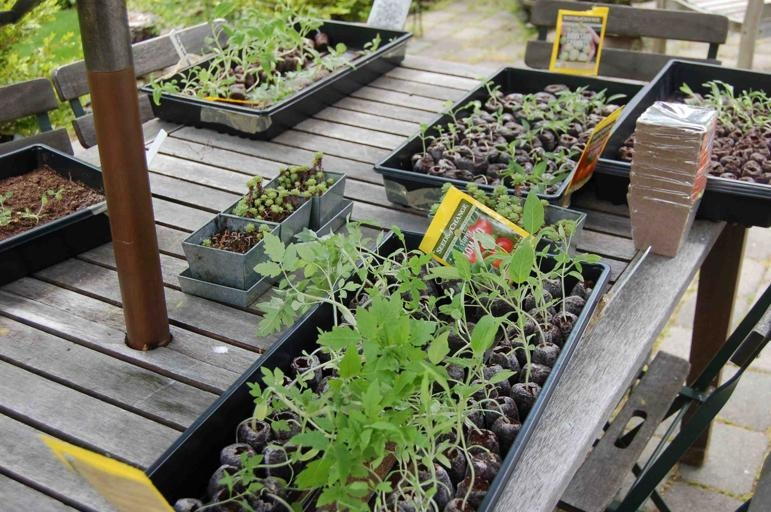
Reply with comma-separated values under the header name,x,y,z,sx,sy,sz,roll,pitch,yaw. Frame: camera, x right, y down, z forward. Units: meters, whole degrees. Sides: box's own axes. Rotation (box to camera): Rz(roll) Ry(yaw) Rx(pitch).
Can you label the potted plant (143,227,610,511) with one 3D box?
name,x,y,z,sx,sy,sz,roll,pitch,yaw
potted plant,0.045,0.253,1.214,0.618,0.219,0.854,19,38,20
